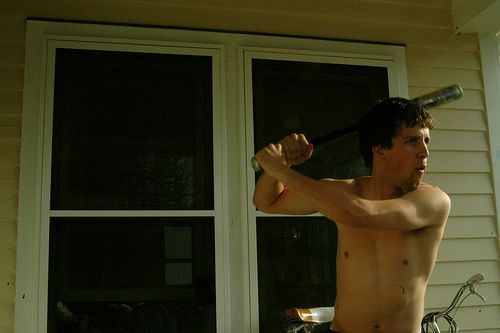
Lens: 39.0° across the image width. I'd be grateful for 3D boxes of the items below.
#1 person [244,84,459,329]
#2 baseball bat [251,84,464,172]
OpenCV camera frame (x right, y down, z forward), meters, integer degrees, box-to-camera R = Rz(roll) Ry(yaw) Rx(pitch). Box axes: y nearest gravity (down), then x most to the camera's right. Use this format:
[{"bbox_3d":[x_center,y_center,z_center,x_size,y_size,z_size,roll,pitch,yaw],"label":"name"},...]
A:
[{"bbox_3d":[0.646,0.323,5.127,1.428,2.565,0.948,6,-17,4],"label":"person"},{"bbox_3d":[0.717,-0.295,5.350,1.623,0.175,0.187,-18,-45,-12],"label":"baseball bat"}]
